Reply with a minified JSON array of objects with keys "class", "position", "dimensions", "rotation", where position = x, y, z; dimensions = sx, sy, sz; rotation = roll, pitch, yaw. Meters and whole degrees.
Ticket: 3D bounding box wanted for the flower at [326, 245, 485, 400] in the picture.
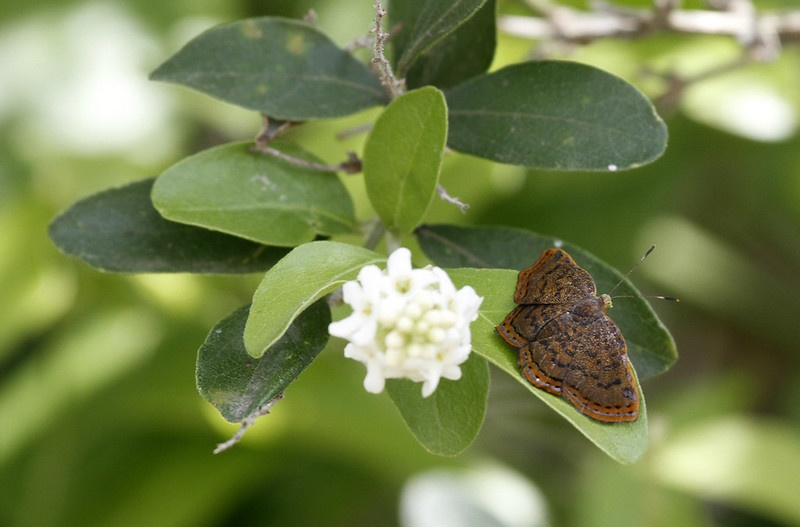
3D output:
[{"class":"flower","position":[0.019,0.164,2.224],"dimensions":[0.425,0.273,0.441],"rotation":[2,70,-3]}]
